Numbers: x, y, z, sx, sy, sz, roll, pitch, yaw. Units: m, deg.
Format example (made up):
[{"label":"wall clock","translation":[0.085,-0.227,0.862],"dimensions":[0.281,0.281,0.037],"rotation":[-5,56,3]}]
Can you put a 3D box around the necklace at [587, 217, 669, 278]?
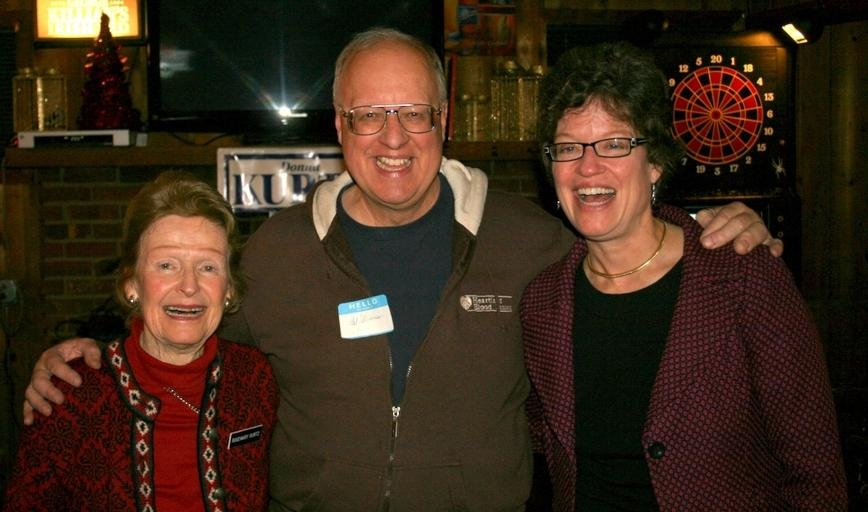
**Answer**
[{"label":"necklace","translation":[1.086,-0.041,5.281],"dimensions":[0.346,0.347,0.027],"rotation":[-16,11,-4]}]

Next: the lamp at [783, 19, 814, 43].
[{"label":"lamp","translation":[2.790,-1.728,7.219],"dimensions":[0.201,0.177,0.115],"rotation":[-1,8,20]}]
